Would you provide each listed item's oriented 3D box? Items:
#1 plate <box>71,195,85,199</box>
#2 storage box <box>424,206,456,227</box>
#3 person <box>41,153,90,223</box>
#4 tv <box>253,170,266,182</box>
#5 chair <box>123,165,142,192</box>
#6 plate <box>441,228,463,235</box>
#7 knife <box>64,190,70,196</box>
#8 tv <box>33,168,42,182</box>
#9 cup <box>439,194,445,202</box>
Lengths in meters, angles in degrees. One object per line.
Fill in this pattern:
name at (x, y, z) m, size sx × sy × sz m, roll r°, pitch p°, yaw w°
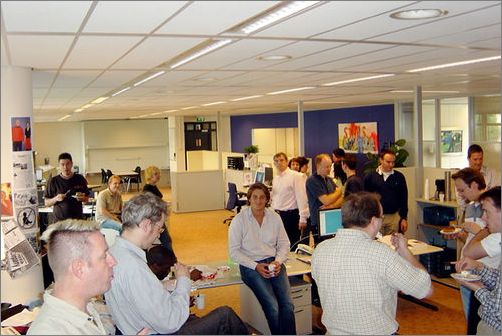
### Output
plate at (-3.095, 0.522, 6.388) m, size 0.226 × 0.064 × 0.070 m, roll -1°, pitch -2°, yaw 10°
storage box at (3.623, 0.884, 6.858) m, size 0.369 × 0.319 × 0.502 m, roll 1°, pitch -2°, yaw 1°
person at (-3.308, 0.340, 6.400) m, size 0.716 × 1.209 × 0.407 m, roll 0°, pitch -2°, yaw -27°
tv at (0.294, 0.259, 10.703) m, size 0.334 × 0.284 × 0.085 m, roll -2°, pitch -7°, yaw 32°
chair at (-5.520, 0.538, 17.301) m, size 1.156 × 1.659 × 1.232 m, roll 1°, pitch 0°, yaw -22°
plate at (2.122, 0.676, 3.775) m, size 0.192 × 0.104 × 0.232 m, roll -2°, pitch -2°, yaw 27°
knife at (-3.271, 0.440, 6.338) m, size 0.118 × 0.021 × 0.021 m, roll -34°, pitch 3°, yaw 18°
tv at (-7.476, 0.254, 12.582) m, size 0.206 × 0.453 × 0.911 m, roll 0°, pitch -2°, yaw -30°
cup at (3.671, 0.568, 6.830) m, size 0.070 × 0.159 × 0.084 m, roll -1°, pitch -2°, yaw 12°
